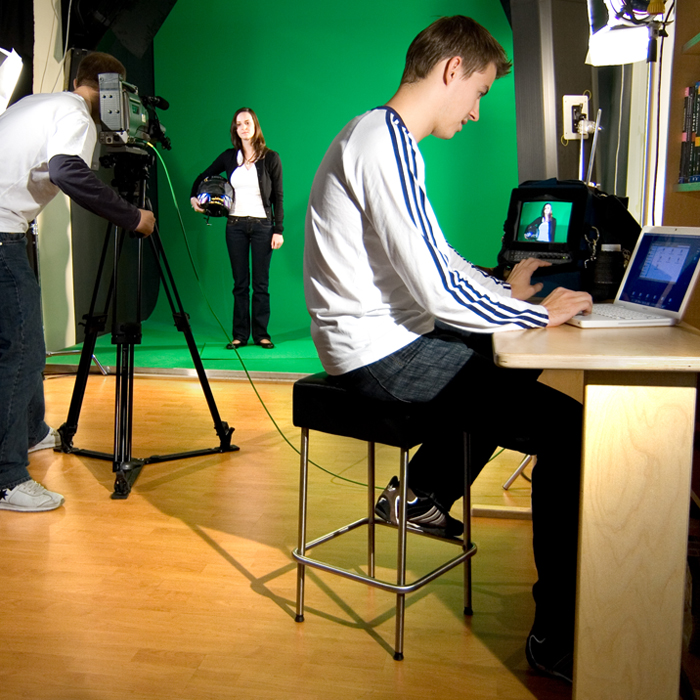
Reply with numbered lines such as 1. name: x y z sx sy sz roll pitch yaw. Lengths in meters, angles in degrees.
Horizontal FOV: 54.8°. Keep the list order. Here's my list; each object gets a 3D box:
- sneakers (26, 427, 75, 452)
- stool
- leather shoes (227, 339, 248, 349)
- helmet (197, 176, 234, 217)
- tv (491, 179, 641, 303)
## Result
1. sneakers: -1.358 0.414 3.084 0.074 0.102 0.215 10 14 31
2. stool: 0.088 0.378 1.676 0.412 0.677 0.457 0 10 -2
3. leather shoes: -0.756 -0.043 4.547 0.108 0.056 0.055 1 4 -13
4. helmet: -0.621 -0.699 3.184 0.128 0.189 0.180 10 -31 -18
5. tv: 0.678 -0.368 2.172 0.449 0.534 0.354 -2 9 -18
